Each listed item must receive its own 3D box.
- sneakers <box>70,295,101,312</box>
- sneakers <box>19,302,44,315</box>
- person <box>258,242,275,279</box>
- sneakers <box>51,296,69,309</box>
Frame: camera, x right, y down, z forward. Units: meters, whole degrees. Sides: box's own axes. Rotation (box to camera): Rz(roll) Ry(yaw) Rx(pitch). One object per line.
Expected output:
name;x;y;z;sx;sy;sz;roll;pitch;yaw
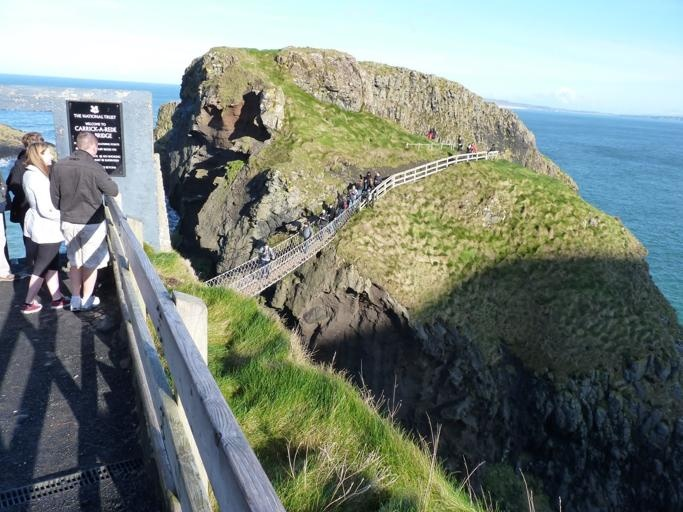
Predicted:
sneakers;-5.232;0.993;11.359;0.254;0.294;0.634;9;12;44
sneakers;-6.258;1.051;11.284;0.360;0.250;0.210;-6;14;-22
person;-3.328;0.160;24.661;0.596;1.536;0.394;8;19;-4
sneakers;-5.758;0.982;11.459;0.187;0.209;0.452;10;13;35
